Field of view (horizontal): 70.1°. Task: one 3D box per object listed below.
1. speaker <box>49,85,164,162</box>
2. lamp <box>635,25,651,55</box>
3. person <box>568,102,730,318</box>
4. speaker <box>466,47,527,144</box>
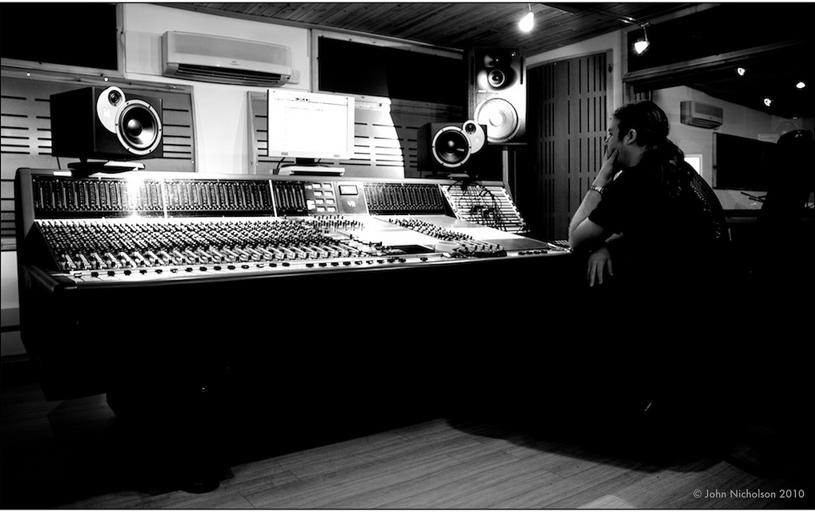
[{"bbox_3d":[-2.119,-0.862,4.210,0.662,0.484,0.627,4,6,28],"label":"speaker"},{"bbox_3d":[2.489,-2.298,6.181,0.160,0.319,0.275,1,6,20],"label":"lamp"},{"bbox_3d":[1.423,-0.337,3.662,0.589,1.261,0.885,-5,7,-30],"label":"person"},{"bbox_3d":[0.883,-1.576,5.791,0.552,0.965,0.251,-1,6,7],"label":"speaker"}]
